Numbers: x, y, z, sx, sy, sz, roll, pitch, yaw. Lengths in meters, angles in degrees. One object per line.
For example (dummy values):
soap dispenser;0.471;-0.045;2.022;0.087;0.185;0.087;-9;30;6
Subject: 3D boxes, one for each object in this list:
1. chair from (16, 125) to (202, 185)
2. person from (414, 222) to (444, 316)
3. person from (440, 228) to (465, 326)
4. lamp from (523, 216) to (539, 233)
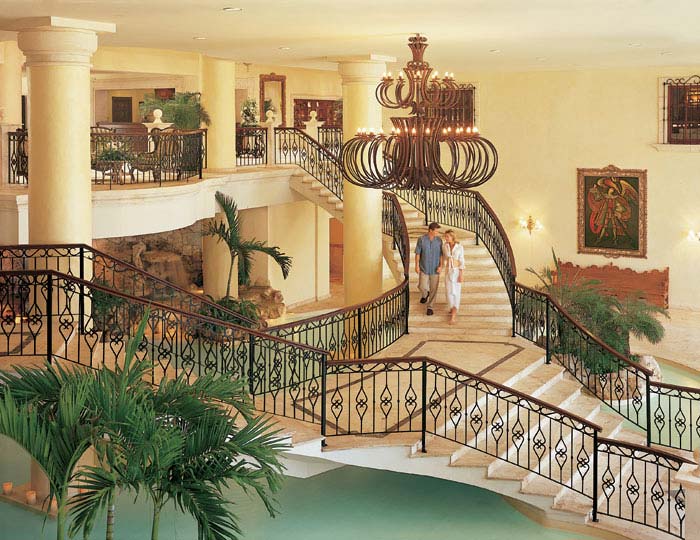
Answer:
chair;-4.264;-2.136;11.360;1.800;1.116;3.430;5;17;19
person;1.518;-0.042;11.599;0.527;1.841;0.712;1;14;6
person;1.913;0.136;11.282;0.347;1.729;0.371;2;14;10
lamp;5.668;-1.436;18.991;0.467;0.482;0.151;5;10;39
